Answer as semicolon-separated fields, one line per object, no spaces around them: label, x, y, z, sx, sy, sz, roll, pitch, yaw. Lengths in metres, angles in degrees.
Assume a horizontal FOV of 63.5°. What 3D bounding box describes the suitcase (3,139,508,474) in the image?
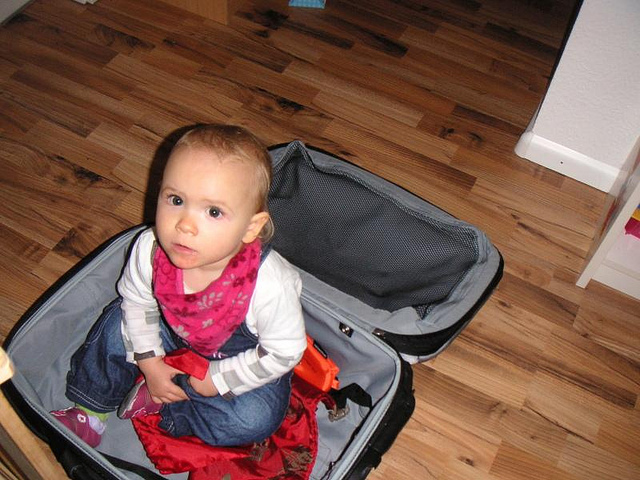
suitcase;-0.062;0.301;1.453;0.932;0.354;0.984;32;66;12
